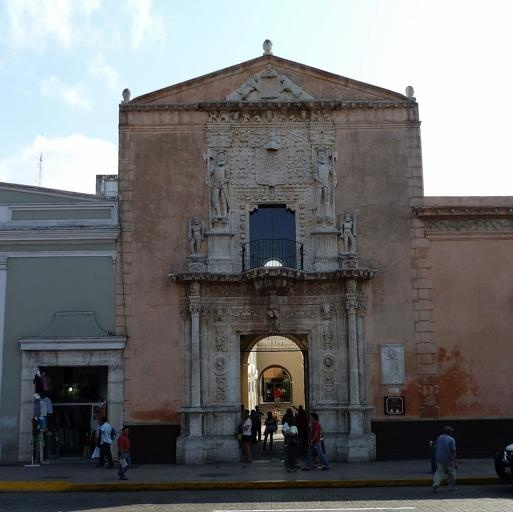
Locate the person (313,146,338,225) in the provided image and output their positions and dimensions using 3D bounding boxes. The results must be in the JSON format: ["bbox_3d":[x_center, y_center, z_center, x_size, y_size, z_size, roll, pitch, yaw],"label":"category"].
[{"bbox_3d":[2.365,-2.389,36.361,0.776,2.734,0.278,-2,-10,3],"label":"person"}]

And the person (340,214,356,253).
[{"bbox_3d":[3.102,-0.760,36.013,0.535,1.279,0.269,-2,-10,4],"label":"person"}]

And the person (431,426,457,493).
[{"bbox_3d":[5.175,5.590,29.325,0.643,1.694,2.567,-3,-11,9],"label":"person"}]

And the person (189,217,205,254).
[{"bbox_3d":[-2.026,-0.671,35.988,0.534,1.280,0.293,-1,-10,-4],"label":"person"}]

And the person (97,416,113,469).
[{"bbox_3d":[-4.747,5.848,33.332,0.427,1.560,1.816,0,-11,-9],"label":"person"}]
